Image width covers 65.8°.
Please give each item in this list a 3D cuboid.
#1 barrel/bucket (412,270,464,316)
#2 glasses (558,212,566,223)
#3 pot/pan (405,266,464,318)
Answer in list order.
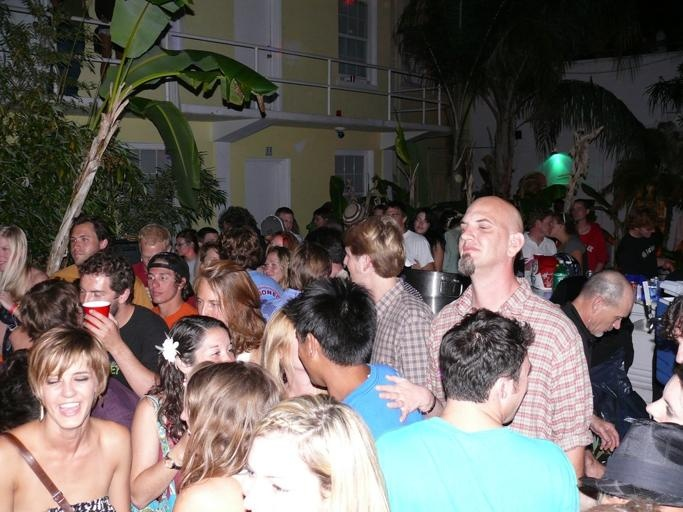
[{"bbox_3d":[1.037,0.330,5.548,0.409,0.412,0.448,8,7,-1],"label":"barrel/bucket"},{"bbox_3d":[3.544,-0.624,8.418,0.067,0.192,0.164,-8,-21,36],"label":"glasses"},{"bbox_3d":[0.991,0.329,5.558,0.482,0.484,0.525,9,7,13],"label":"pot/pan"}]
